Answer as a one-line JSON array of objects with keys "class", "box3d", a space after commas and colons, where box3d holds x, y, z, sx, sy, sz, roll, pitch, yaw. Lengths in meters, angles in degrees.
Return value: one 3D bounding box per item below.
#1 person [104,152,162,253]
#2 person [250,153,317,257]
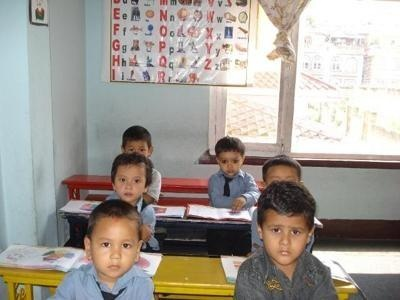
[{"class": "person", "box3d": [-0.462, 0.395, 2.727, 0.504, 0.497, 1.210, 0, -16, -3]}, {"class": "person", "box3d": [0.523, 0.511, 2.317, 0.374, 0.940, 0.369, 0, -10, 5]}]
